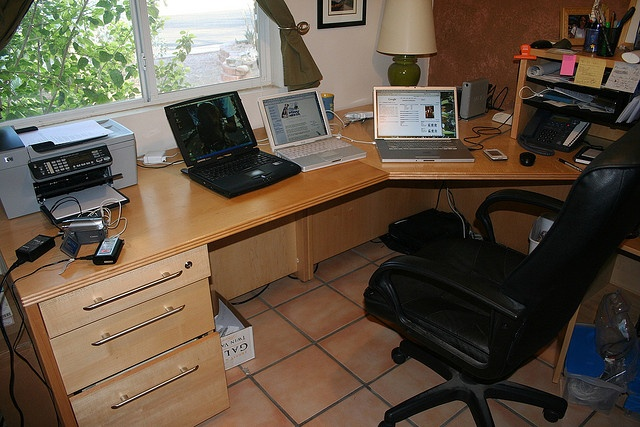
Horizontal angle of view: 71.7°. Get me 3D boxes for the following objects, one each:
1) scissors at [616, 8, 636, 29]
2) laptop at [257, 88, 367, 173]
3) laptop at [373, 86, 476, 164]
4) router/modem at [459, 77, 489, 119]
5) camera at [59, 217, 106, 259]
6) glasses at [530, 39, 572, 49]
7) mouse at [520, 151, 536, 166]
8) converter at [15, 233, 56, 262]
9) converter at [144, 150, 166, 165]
[{"bbox_3d":[1.693,-1.093,2.451,0.062,0.096,0.131,17,38,31],"label":"scissors"},{"bbox_3d":[-0.073,-0.496,2.680,0.550,0.391,0.596,-23,42,-26],"label":"laptop"},{"bbox_3d":[0.621,-0.538,2.650,0.588,0.338,0.499,-2,32,-3],"label":"laptop"},{"bbox_3d":[1.095,-0.812,3.136,0.299,0.247,0.096,-24,33,-37],"label":"router/modem"},{"bbox_3d":[-1.042,0.095,1.942,0.212,0.098,0.148,1,67,-7],"label":"camera"},{"bbox_3d":[1.447,-1.058,2.766,0.166,0.052,0.124,13,31,31],"label":"glasses"},{"bbox_3d":[1.192,-0.319,2.544,0.080,0.034,0.077,-11,32,-15],"label":"mouse"},{"bbox_3d":[-1.231,0.142,1.929,0.077,0.053,0.139,16,28,27],"label":"converter"},{"bbox_3d":[-0.965,-0.334,2.587,0.093,0.032,0.090,0,29,1],"label":"converter"}]
